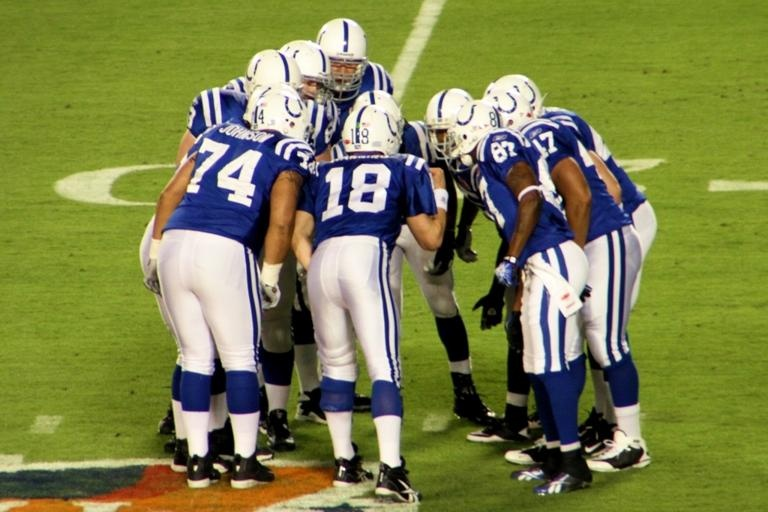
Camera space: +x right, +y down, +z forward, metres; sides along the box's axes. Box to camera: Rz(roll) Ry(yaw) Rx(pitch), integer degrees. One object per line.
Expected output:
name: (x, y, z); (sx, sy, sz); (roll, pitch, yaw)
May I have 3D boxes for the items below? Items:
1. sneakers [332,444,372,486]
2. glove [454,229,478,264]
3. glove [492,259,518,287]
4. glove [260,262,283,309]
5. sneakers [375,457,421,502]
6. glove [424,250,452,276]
sneakers: (-0.218, 1.491, 9.652); (0.298, 0.219, 0.192); (-8, 31, -12)
glove: (0.702, -0.067, 11.370); (0.198, 0.306, 0.129); (-26, 63, -14)
glove: (0.888, 0.103, 9.595); (0.151, 0.244, 0.204); (0, 31, 4)
glove: (-0.808, 0.206, 9.752); (0.149, 0.276, 0.229); (4, 11, -2)
sneakers: (0.110, 1.571, 9.453); (0.293, 0.276, 0.246); (-13, 32, -18)
glove: (0.452, 0.026, 10.631); (0.186, 0.213, 0.086); (21, 25, -21)
